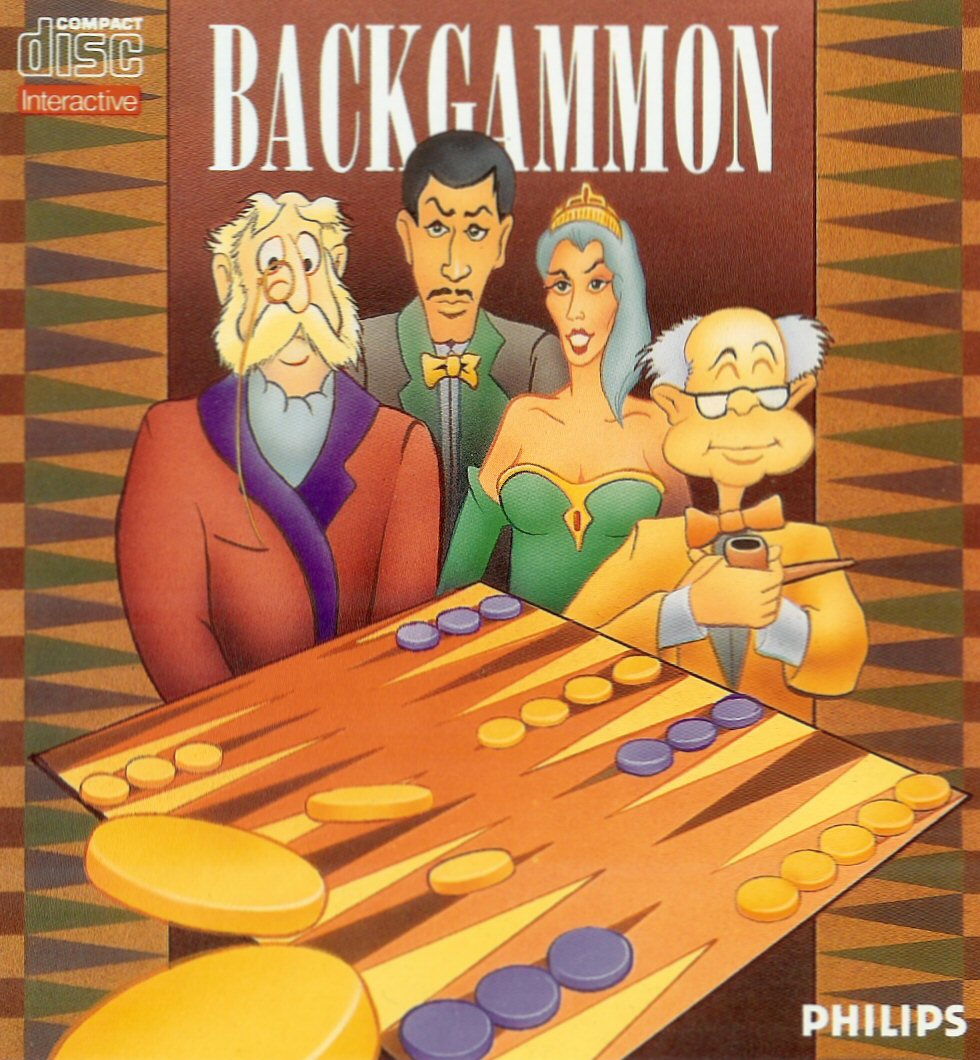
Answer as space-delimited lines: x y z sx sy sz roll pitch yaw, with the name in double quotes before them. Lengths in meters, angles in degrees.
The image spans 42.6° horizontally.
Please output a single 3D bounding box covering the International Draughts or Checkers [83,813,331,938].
"International Draughts or Checkers" -0.241 0.298 1.084 0.168 0.017 0.105 12 20 23
